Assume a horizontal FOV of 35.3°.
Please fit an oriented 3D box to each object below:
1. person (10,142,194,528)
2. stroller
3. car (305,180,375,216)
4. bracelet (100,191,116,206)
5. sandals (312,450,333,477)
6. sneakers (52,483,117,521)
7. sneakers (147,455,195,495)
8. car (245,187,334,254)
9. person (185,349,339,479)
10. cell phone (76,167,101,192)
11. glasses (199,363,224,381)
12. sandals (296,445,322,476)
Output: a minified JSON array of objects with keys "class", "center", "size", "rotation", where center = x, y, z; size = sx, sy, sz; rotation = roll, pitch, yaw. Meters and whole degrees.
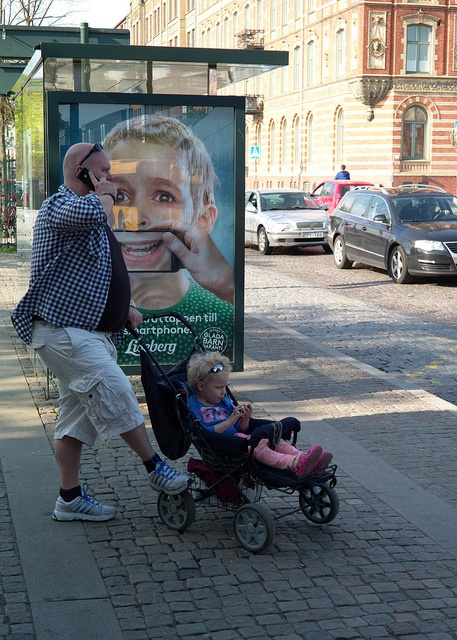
[{"class":"person","center":[-0.638,0.100,3.370],"size":[0.718,1.858,0.426],"rotation":[-1,8,-17]},{"class":"stroller","center":[-0.053,0.613,3.820],"size":[1.321,1.114,0.681],"rotation":[0,3,29]},{"class":"car","center":[3.917,-4.146,25.686],"size":[1.674,1.259,2.695],"rotation":[-4,17,-11]},{"class":"bracelet","center":[-0.562,-0.572,3.346],"size":[0.011,0.041,0.040],"rotation":[-35,9,34]},{"class":"sandals","center":[0.435,0.650,3.306],"size":[0.050,0.140,0.059],"rotation":[23,1,-34]},{"class":"sneakers","center":[-0.731,0.934,3.685],"size":[0.387,0.223,0.125],"rotation":[0,3,-5]},{"class":"sneakers","center":[-0.281,0.738,3.394],"size":[0.095,0.124,0.263],"rotation":[-34,22,-33]},{"class":"car","center":[1.686,-2.815,20.357],"size":[1.753,1.904,2.344],"rotation":[-1,8,-21]},{"class":"person","center":[0.162,0.411,3.516],"size":[0.833,0.462,0.407],"rotation":[13,12,37]},{"class":"cell phone","center":[-0.660,-0.661,3.358],"size":[0.071,0.126,0.014],"rotation":[-40,18,-15]},{"class":"glasses","center":[-0.086,0.239,3.515],"size":[0.091,0.027,0.089],"rotation":[-33,-6,12]},{"class":"sandals","center":[0.366,0.636,3.253],"size":[0.105,0.141,0.121],"rotation":[4,8,17]}]
